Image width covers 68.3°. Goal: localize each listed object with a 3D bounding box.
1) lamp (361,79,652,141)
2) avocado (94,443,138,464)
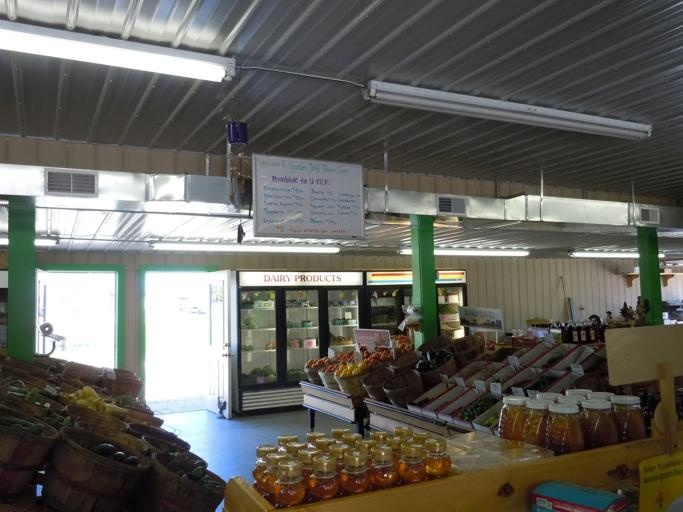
[{"bbox_3d":[1.570,-1.280,4.536,2.772,0.178,0.256,5,33,-11],"label":"lamp"},{"bbox_3d":[-1.588,1.399,3.561,0.224,0.069,0.169,13,-1,0],"label":"avocado"}]
